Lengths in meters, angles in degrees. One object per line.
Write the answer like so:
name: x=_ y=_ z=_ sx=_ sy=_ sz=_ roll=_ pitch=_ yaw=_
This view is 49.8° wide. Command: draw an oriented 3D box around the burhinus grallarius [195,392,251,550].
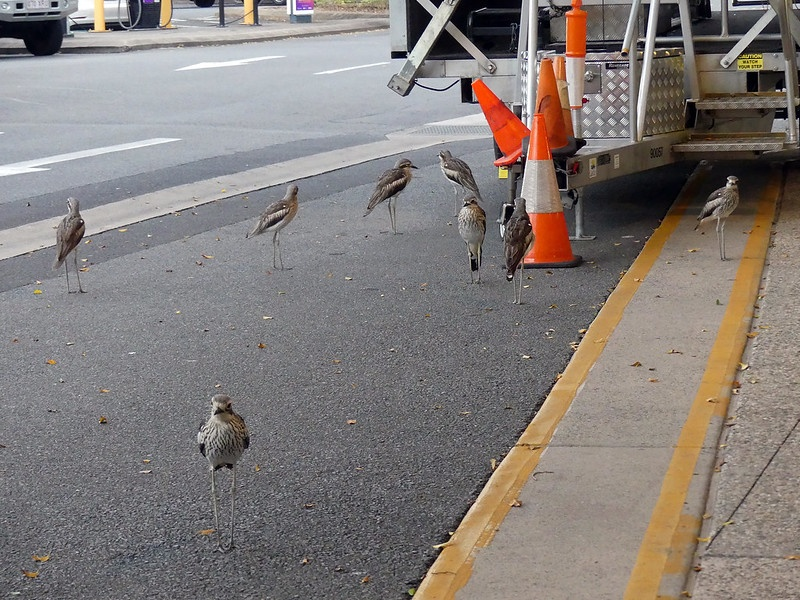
burhinus grallarius: x=-0.907 y=0.799 z=4.491 sx=0.243 sy=0.833 sz=0.720 roll=-5 pitch=14 yaw=-13

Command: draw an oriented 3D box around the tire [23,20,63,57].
tire: x=-10.969 y=-8.151 z=26.888 sx=1.376 sy=1.218 sz=0.527 roll=-11 pitch=6 yaw=41

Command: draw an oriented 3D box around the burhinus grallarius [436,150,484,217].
burhinus grallarius: x=0.650 y=-1.458 z=10.217 sx=0.717 sy=0.513 sz=0.293 roll=28 pitch=35 yaw=29

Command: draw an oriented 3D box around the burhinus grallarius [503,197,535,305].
burhinus grallarius: x=1.020 y=-0.443 z=7.826 sx=0.244 sy=0.869 sz=0.861 roll=1 pitch=13 yaw=8
